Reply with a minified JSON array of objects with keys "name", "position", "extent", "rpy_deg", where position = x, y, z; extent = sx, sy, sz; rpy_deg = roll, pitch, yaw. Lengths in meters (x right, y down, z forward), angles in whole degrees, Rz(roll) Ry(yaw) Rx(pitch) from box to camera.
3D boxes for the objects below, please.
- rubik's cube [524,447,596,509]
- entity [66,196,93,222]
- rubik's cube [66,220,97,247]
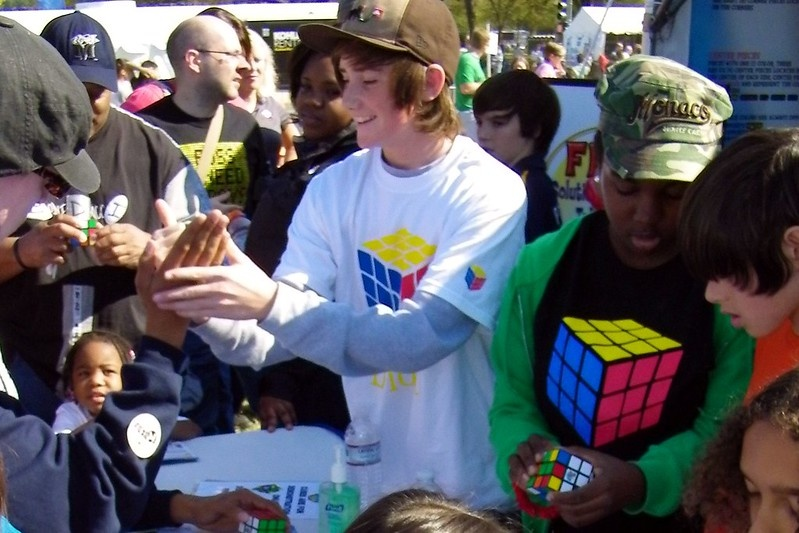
[{"name":"rubik's cube","position":[0.564,0.715,2.291],"extent":[0.186,0.141,0.187],"rpy_deg":[5,-29,43]},{"name":"entity","position":[-1.647,-0.300,3.508],"extent":[0.135,0.158,0.142],"rpy_deg":[-2,8,-17]},{"name":"rubik's cube","position":[-1.580,-0.170,3.429],"extent":[0.117,0.140,0.127],"rpy_deg":[12,11,31]}]
